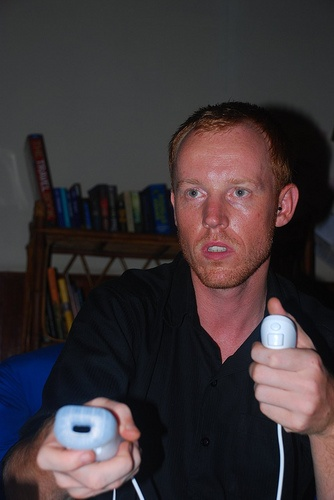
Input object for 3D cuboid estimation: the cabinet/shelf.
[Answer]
[{"bbox_3d":[-0.114,0.065,1.504,0.718,0.756,0.239,3,-4,-12],"label":"cabinet/shelf"}]
